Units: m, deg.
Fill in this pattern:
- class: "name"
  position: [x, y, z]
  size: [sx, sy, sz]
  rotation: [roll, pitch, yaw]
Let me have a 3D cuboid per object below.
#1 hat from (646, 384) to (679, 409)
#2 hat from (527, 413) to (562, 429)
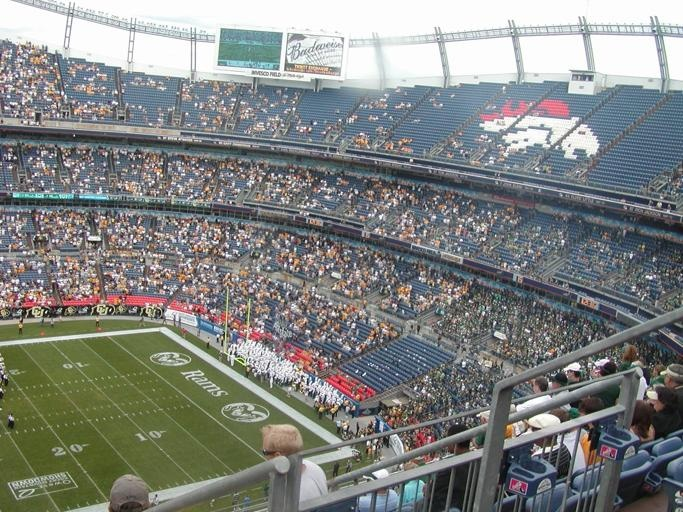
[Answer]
- class: "hat"
  position: [7.606, 3.246, 17.666]
  size: [0.589, 0.196, 0.378]
  rotation: [9, 32, 42]
- class: "hat"
  position: [4.569, 3.763, 16.675]
  size: [0.633, 0.417, 0.531]
  rotation: [4, 9, -11]
